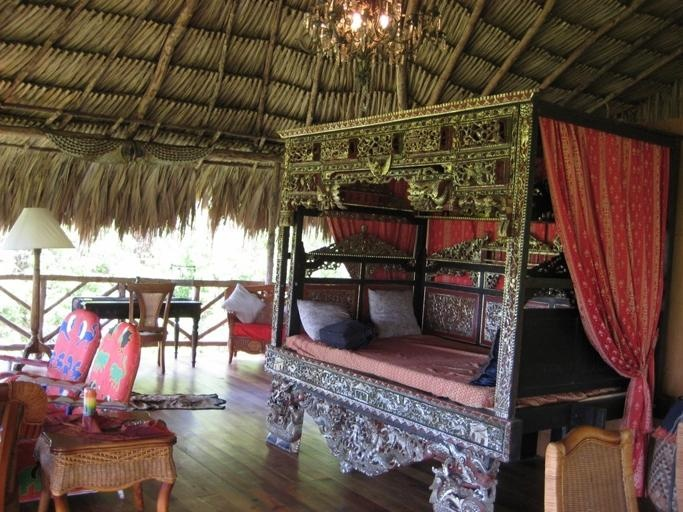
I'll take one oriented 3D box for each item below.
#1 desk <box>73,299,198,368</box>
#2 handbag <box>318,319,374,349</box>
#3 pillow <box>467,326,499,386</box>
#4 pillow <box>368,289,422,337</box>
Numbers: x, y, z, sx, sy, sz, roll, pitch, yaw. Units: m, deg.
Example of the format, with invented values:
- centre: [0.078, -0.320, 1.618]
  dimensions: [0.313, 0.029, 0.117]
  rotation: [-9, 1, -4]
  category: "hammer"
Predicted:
- centre: [-2.755, 0.955, 6.513]
  dimensions: [1.478, 0.855, 0.815]
  rotation: [6, -6, -44]
  category: "desk"
- centre: [0.103, 0.683, 4.233]
  dimensions: [0.258, 0.123, 0.338]
  rotation: [6, 7, 40]
  category: "handbag"
- centre: [0.964, 0.676, 3.222]
  dimensions: [0.097, 0.354, 0.254]
  rotation: [-1, 3, 0]
  category: "pillow"
- centre: [0.543, 0.580, 5.029]
  dimensions: [0.524, 0.487, 0.155]
  rotation: [-5, -20, -34]
  category: "pillow"
